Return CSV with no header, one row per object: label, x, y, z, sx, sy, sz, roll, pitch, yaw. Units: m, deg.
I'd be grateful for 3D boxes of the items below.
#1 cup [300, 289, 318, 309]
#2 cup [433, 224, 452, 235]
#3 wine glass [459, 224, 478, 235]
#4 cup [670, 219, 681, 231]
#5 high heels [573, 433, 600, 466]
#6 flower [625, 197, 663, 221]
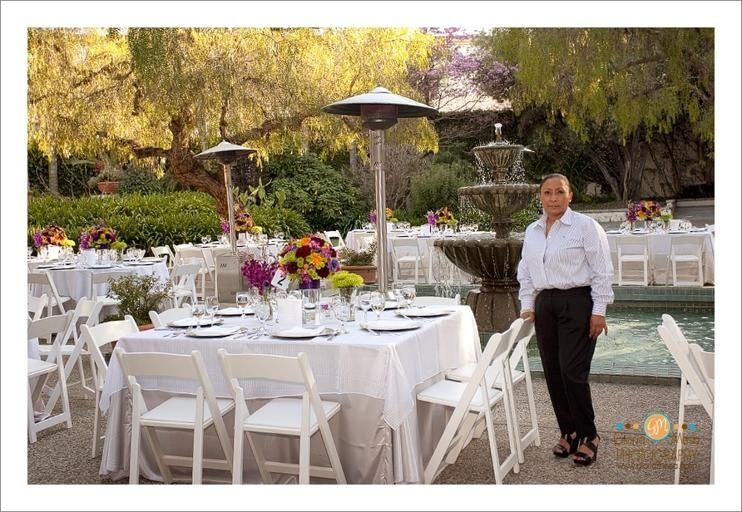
cup,-0.492,0.349,5.611,0.142,0.167,0.137,0,0,0
cup,1.398,-0.485,13.403,0.249,0.220,0.273,-1,6,0
wine glass,1.868,-0.516,13.453,0.299,0.145,0.276,1,4,39
cup,4.852,-0.488,11.071,0.164,0.211,0.170,-4,8,1
high heels,1.656,1.494,5.290,0.103,0.122,0.314,-3,5,30
flower,4.587,-0.739,11.581,0.524,0.335,0.660,-2,5,25
